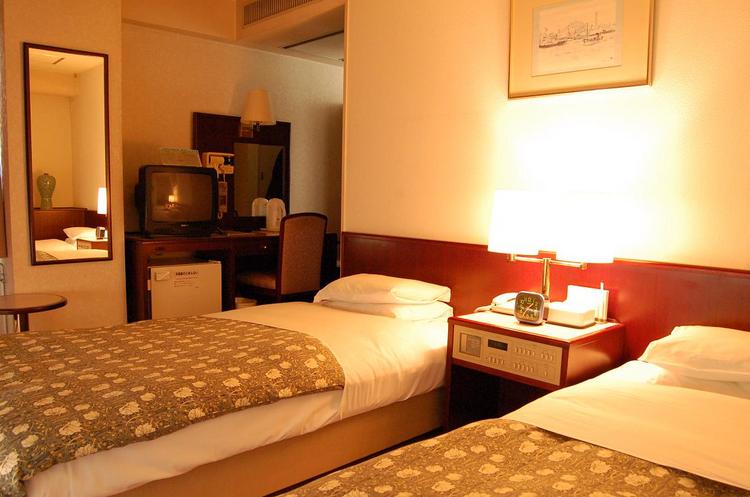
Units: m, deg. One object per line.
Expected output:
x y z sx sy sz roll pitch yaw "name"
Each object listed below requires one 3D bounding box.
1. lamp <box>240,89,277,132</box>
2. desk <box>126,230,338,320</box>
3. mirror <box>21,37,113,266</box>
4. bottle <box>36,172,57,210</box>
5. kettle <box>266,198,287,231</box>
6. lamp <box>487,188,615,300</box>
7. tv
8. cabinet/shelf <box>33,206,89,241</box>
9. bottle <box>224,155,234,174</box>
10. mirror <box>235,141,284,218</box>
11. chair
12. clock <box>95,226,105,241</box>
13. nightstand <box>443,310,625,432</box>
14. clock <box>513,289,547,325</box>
-1.148 -1.332 5.283 0.417 0.385 0.397 4 8 28 "lamp"
-1.500 0.300 4.986 1.433 0.753 0.414 -3 -5 -41 "desk"
-2.292 -0.685 4.018 0.586 1.578 0.311 -3 15 -26 "mirror"
-2.428 -0.423 3.961 0.126 0.257 0.041 -8 18 -39 "bottle"
-0.978 -0.326 5.426 0.211 0.327 0.182 -3 26 -21 "kettle"
0.977 -0.030 2.883 0.619 0.746 0.254 6 8 28 "lamp"
-1.828 -0.442 4.910 0.686 0.606 0.505 -3 12 -36 "tv"
-2.380 -0.187 4.012 0.282 0.244 0.096 0 1 -36 "cabinet/shelf"
-1.475 -0.846 5.400 0.087 0.185 0.150 2 13 -8 "bottle"
-1.220 -0.835 5.619 0.536 0.677 0.023 -7 17 -32 "mirror"
-0.876 0.219 4.902 0.671 1.068 0.698 -4 9 -43 "chair"
-2.148 -0.120 4.178 0.065 0.105 0.102 4 1 44 "clock"
0.824 0.740 2.935 0.697 0.644 0.516 5 5 45 "nightstand"
0.835 0.335 2.924 0.141 0.162 0.161 6 -14 14 "clock"
